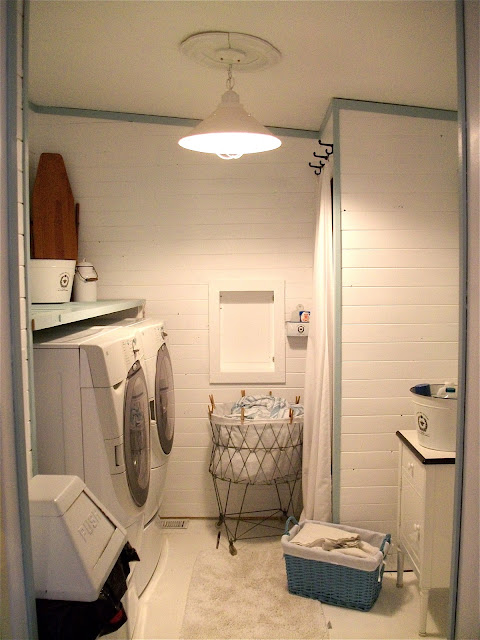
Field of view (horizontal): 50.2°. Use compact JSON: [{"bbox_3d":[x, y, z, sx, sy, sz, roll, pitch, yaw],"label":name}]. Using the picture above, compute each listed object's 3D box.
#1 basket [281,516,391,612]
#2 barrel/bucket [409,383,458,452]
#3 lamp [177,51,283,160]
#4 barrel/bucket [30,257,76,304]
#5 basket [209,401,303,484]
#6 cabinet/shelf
[{"bbox_3d":[0.415,1.067,2.267,0.366,0.295,0.293,1,1,19],"label":"basket"},{"bbox_3d":[0.767,0.379,2.082,0.217,0.229,0.271,0,-5,1],"label":"barrel/bucket"},{"bbox_3d":[-0.032,-0.715,1.718,0.294,0.295,0.314,-1,-3,38],"label":"lamp"},{"bbox_3d":[-0.885,-0.184,2.446,0.254,0.215,0.112,-4,3,-44],"label":"barrel/bucket"},{"bbox_3d":[0.092,0.664,2.863,0.488,0.382,0.520,3,-2,-22],"label":"basket"},{"bbox_3d":[0.774,0.872,2.127,0.209,0.741,0.412,-1,3,13],"label":"cabinet/shelf"}]
